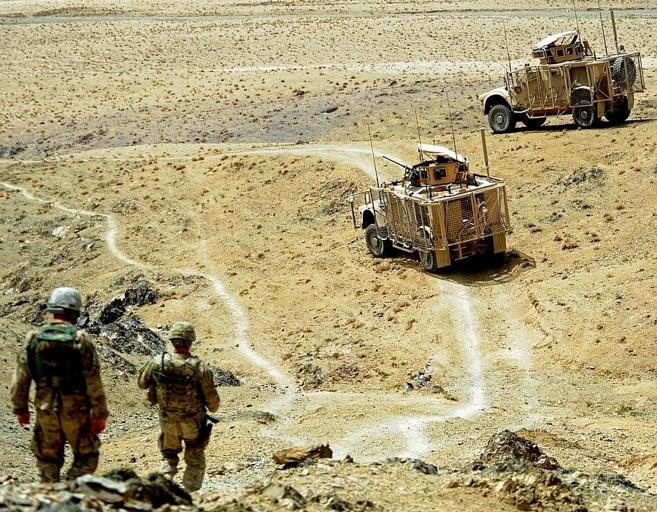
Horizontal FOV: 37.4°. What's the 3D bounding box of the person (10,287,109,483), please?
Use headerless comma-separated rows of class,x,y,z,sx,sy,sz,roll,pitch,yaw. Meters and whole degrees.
person,-3.591,1.803,12.878,1.184,2.629,0.686,-10,16,-11

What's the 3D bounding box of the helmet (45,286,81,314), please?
helmet,-3.614,0.580,13.010,0.499,0.284,0.318,7,7,7

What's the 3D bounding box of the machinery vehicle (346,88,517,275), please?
machinery vehicle,2.840,-1.715,26.739,3.089,2.767,4.932,-21,18,-20

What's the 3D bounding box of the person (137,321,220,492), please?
person,-2.059,2.168,13.674,1.032,2.456,0.770,-10,16,-10

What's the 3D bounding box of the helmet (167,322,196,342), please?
helmet,-2.075,1.062,13.706,0.368,0.206,0.333,1,6,-20

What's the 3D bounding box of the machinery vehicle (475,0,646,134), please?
machinery vehicle,8.307,-6.542,34.728,2.792,3.488,5.906,-25,20,-38
